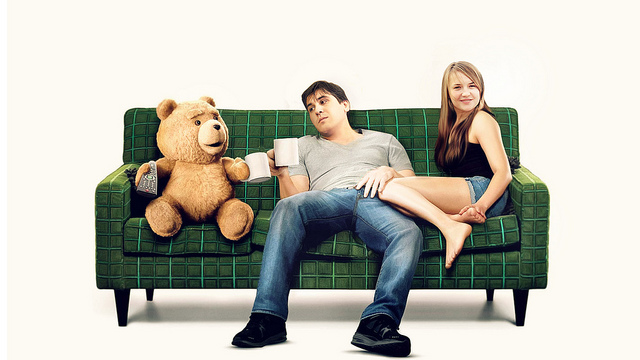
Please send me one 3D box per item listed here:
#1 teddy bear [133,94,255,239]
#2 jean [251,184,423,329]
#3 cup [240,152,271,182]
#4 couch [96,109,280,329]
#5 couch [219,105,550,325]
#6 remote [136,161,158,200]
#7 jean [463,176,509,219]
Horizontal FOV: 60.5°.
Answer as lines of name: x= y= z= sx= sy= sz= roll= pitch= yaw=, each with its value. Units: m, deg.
teddy bear: x=-0.844 y=-0.122 z=3.790 sx=0.832 sy=0.906 sz=0.701 roll=1 pitch=14 yaw=-14
jean: x=0.081 y=0.420 z=3.620 sx=1.192 sy=0.443 sz=1.429 roll=-4 pitch=30 yaw=-3
cup: x=-0.430 y=-0.074 z=3.706 sx=0.162 sy=0.145 sz=0.208 roll=-2 pitch=-10 yaw=-42
couch: x=-0.753 y=0.125 z=3.985 sx=1.610 sy=1.310 sz=1.097 roll=-5 pitch=19 yaw=4
couch: x=0.373 y=0.183 z=4.025 sx=2.361 sy=1.343 sz=1.180 roll=-1 pitch=14 yaw=-6
remote: x=-1.148 y=-0.001 z=3.648 sx=0.139 sy=0.228 sz=0.078 roll=11 pitch=-25 yaw=-18
jean: x=1.129 y=0.114 z=3.744 sx=0.305 sy=0.266 sz=0.271 roll=0 pitch=-6 yaw=0
